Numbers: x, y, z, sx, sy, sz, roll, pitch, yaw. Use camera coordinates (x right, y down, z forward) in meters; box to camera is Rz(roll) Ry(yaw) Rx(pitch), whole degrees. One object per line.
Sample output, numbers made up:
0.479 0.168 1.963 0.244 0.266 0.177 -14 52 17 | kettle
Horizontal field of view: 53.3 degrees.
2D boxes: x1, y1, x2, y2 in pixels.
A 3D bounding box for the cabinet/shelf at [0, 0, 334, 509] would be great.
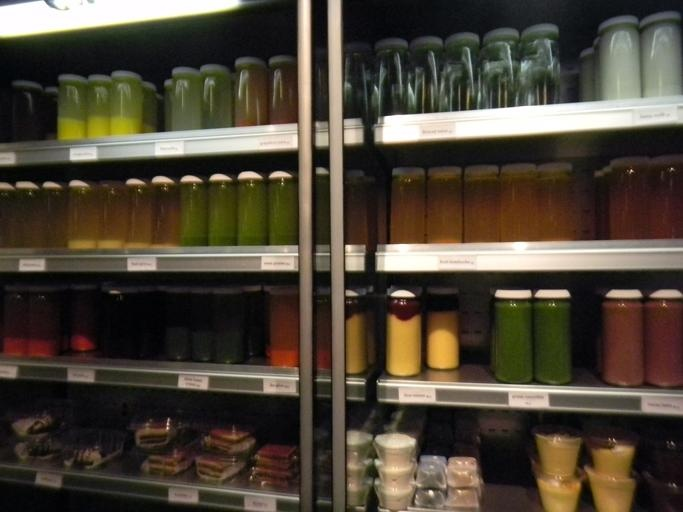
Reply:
-0.669 -0.010 2.688 1.922 1.934 0.627 -1 -2 17 | cabinet/shelf
